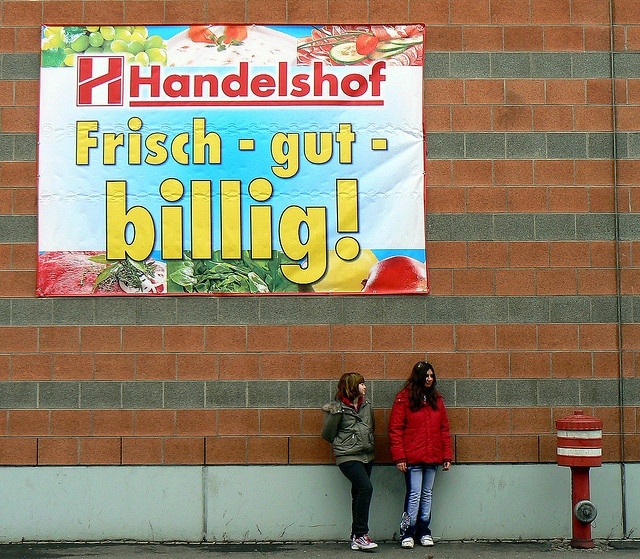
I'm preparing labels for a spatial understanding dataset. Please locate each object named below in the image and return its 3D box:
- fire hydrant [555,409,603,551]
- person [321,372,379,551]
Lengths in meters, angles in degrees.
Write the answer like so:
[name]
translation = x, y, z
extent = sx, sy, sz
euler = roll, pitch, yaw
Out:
[fire hydrant]
translation = 2.933, 2.271, 16.608
extent = 0.634, 1.361, 0.770
euler = 0, -3, 13
[person]
translation = 0.356, 2.047, 16.625
extent = 0.492, 1.929, 0.654
euler = -10, -22, 23
